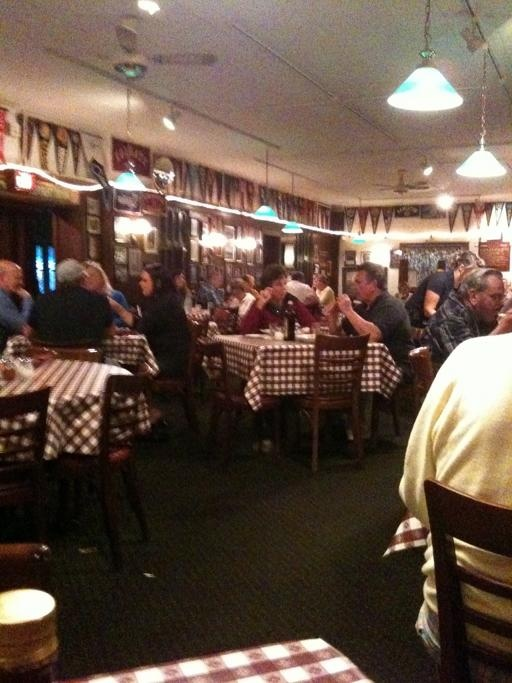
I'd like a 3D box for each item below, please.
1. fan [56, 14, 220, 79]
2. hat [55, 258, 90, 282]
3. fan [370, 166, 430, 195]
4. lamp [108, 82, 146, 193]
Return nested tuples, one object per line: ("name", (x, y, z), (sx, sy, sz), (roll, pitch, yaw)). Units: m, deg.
("fan", (-0.859, -2.607, 4.822), (0.778, 0.119, 0.765), (1, -4, -32))
("hat", (-1.496, -0.567, 4.229), (0.234, 0.261, 0.290), (0, 9, 5))
("fan", (3.047, -3.265, 10.891), (1.219, 0.523, 1.140), (-4, 8, -14))
("lamp", (-1.752, -2.492, 7.106), (0.424, 1.091, 2.343), (-1, 6, -15))
